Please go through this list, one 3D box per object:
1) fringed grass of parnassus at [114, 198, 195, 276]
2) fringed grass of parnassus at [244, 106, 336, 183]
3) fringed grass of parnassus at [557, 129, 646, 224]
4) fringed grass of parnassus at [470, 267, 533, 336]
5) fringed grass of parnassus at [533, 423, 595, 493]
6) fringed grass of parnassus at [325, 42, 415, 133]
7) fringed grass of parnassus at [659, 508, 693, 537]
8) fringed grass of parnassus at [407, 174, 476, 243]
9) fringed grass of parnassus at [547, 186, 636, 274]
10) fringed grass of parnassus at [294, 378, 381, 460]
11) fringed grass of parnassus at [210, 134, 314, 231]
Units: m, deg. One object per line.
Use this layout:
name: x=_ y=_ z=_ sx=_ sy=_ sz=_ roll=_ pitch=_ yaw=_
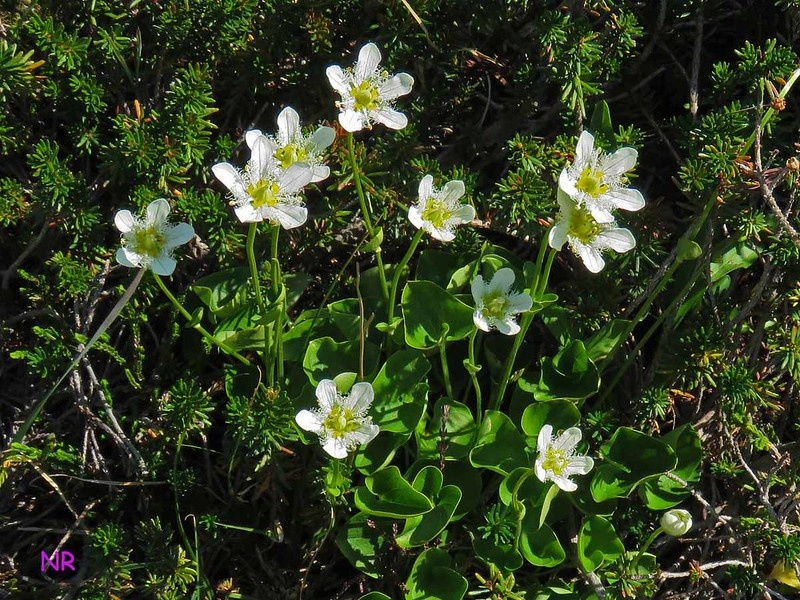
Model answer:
fringed grass of parnassus: x=-0.738 y=-0.194 z=2.175 sx=0.215 sy=0.087 sz=0.228 roll=28 pitch=-50 yaw=-31
fringed grass of parnassus: x=-0.349 y=-0.442 z=2.228 sx=0.149 sy=0.149 sz=0.049 roll=19 pitch=-5 yaw=10
fringed grass of parnassus: x=0.568 y=-0.360 z=2.173 sx=0.291 sy=0.270 sz=0.090 roll=-9 pitch=-3 yaw=-30
fringed grass of parnassus: x=0.256 y=0.001 z=2.273 sx=0.201 sy=0.120 sz=0.207 roll=30 pitch=-32 yaw=-24
fringed grass of parnassus: x=0.462 y=0.427 z=2.218 sx=0.176 sy=0.107 sz=0.189 roll=-2 pitch=-5 yaw=-10
fringed grass of parnassus: x=-0.110 y=-0.637 z=2.294 sx=0.248 sy=0.239 sz=0.172 roll=-9 pitch=-3 yaw=-25
fringed grass of parnassus: x=0.797 y=0.652 z=2.191 sx=0.084 sy=0.086 sz=0.125 roll=-12 pitch=-4 yaw=16
fringed grass of parnassus: x=0.114 y=-0.311 z=2.272 sx=0.193 sy=0.085 sz=0.175 roll=28 pitch=-18 yaw=-28
fringed grass of parnassus: x=0.545 y=-0.241 z=2.203 sx=0.263 sy=0.125 sz=0.411 roll=19 pitch=15 yaw=-3
fringed grass of parnassus: x=-0.178 y=0.335 z=2.145 sx=0.154 sy=0.191 sz=0.207 roll=-13 pitch=-4 yaw=41
fringed grass of parnassus: x=-0.378 y=-0.331 z=2.127 sx=0.233 sy=0.266 sz=0.090 roll=-3 pitch=35 yaw=26
